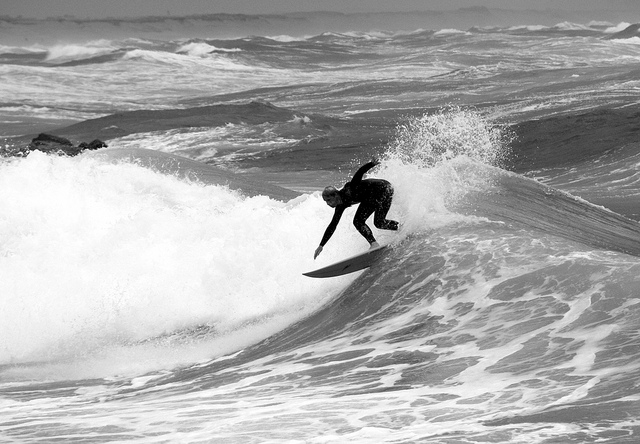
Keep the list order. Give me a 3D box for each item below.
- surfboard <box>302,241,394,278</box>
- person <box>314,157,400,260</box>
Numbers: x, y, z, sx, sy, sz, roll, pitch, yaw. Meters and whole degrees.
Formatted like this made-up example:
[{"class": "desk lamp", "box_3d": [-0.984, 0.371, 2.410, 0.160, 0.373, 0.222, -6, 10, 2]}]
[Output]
[{"class": "surfboard", "box_3d": [0.628, 0.898, 22.492, 1.793, 0.751, 0.357, -4, 21, -22]}, {"class": "person", "box_3d": [0.877, -0.327, 21.983, 1.681, 2.094, 0.522, -4, 22, -22]}]
